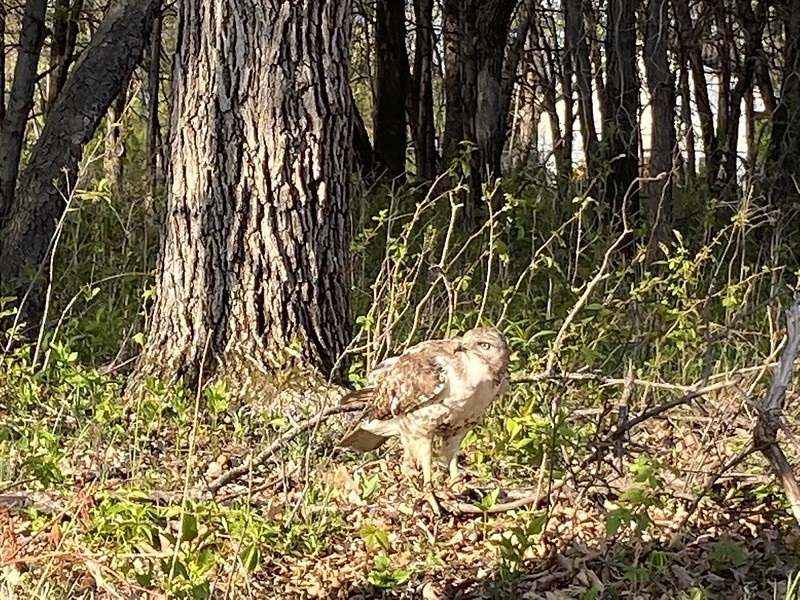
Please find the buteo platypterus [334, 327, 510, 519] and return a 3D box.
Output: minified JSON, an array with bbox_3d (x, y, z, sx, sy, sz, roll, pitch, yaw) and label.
[{"bbox_3d":[0.105,0.504,6.453,0.580,1.236,1.162,-9,21,-37],"label":"buteo platypterus"}]
